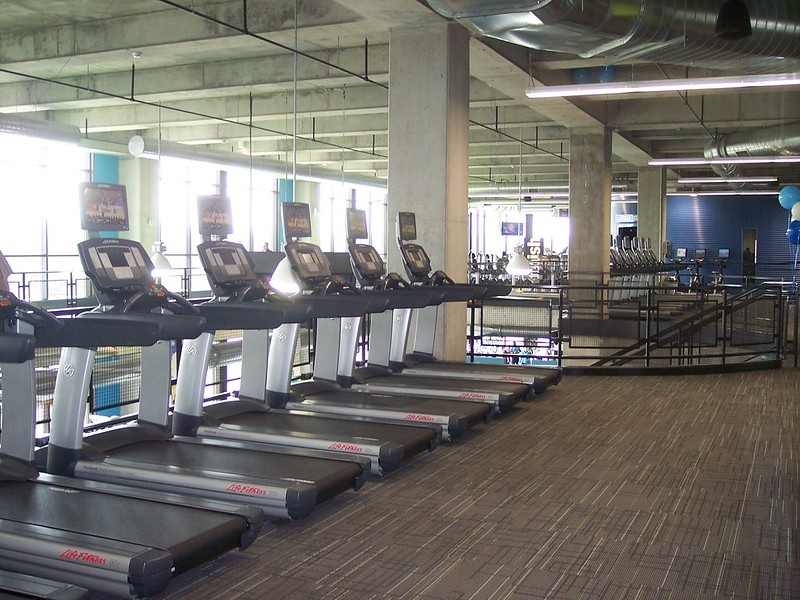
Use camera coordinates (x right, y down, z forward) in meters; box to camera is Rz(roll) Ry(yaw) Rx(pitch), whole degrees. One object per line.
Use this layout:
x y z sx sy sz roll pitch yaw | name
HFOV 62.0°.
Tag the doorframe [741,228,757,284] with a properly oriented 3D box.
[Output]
11.939 -1.546 22.787 0.529 1.805 5.743 4 8 27 | doorframe
